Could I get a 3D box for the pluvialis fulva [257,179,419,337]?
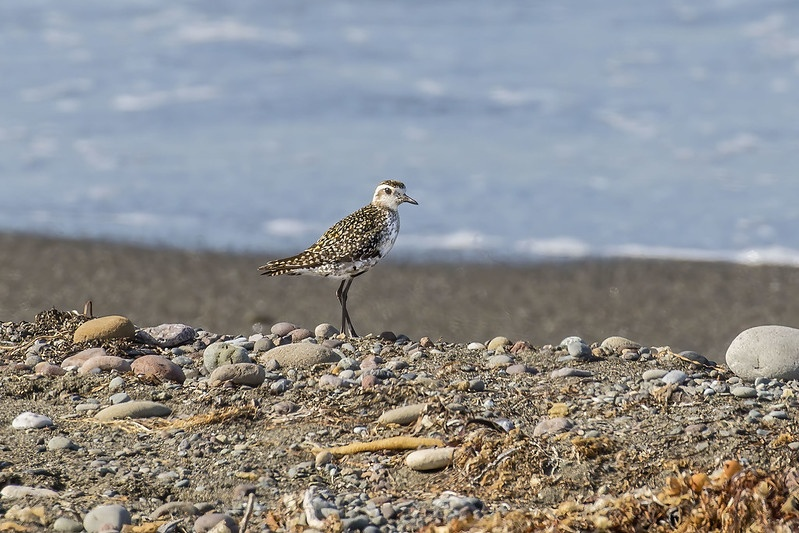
[{"bbox_3d":[-0.788,-0.119,16.842,1.136,2.157,2.165,1,-2,39],"label":"pluvialis fulva"}]
